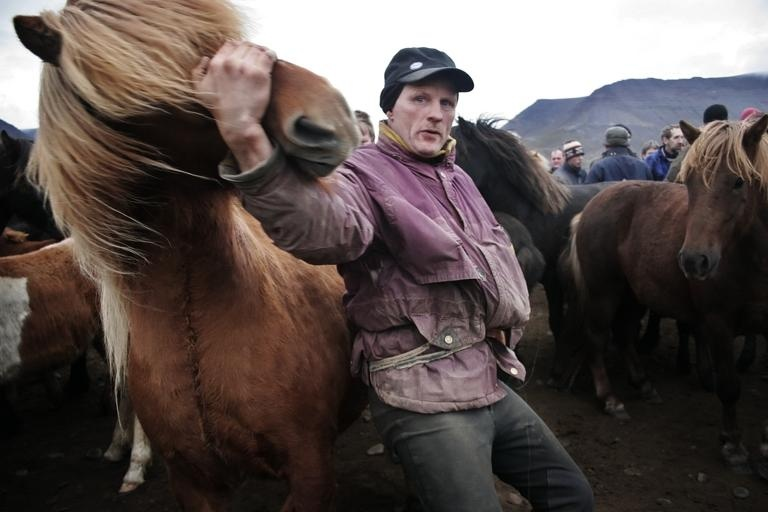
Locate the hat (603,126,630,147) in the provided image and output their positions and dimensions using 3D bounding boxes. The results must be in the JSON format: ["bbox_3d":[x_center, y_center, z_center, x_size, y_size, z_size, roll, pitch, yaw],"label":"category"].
[{"bbox_3d":[2.788,-1.450,7.583,0.236,0.240,0.301,0,-29,19],"label":"hat"}]

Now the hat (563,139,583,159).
[{"bbox_3d":[2.539,-1.441,8.567,0.257,0.248,0.239,0,10,36],"label":"hat"}]
